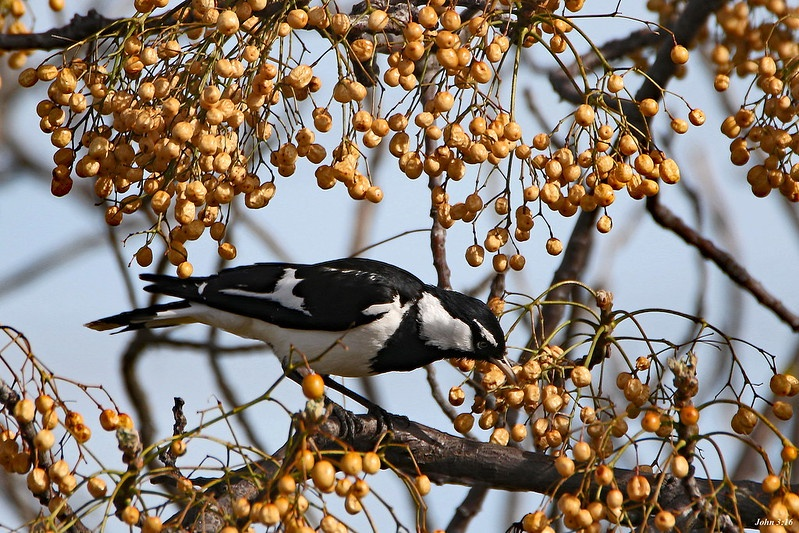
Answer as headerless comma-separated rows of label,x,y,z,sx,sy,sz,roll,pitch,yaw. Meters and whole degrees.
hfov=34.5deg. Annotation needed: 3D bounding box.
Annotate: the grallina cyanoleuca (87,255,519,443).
grallina cyanoleuca,-0.487,0.346,6.447,2.024,0.928,0.601,12,-7,7
